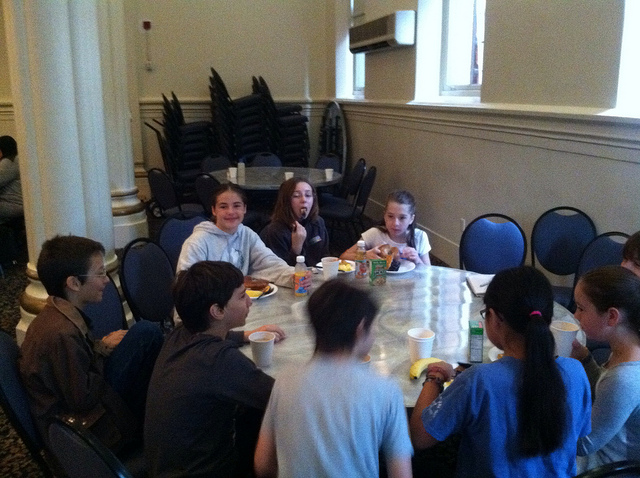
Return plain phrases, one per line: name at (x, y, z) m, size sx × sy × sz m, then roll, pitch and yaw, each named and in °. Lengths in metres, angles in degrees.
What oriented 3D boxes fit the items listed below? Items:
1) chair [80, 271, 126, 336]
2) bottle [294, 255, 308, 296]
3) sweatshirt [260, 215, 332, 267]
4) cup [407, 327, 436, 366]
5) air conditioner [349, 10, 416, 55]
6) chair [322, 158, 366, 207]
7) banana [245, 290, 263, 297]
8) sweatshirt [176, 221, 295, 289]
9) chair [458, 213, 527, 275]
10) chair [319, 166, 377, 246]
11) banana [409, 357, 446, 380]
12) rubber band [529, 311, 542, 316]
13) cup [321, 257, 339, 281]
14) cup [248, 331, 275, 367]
chair at (-1.237, 0.342, 2.541) m, size 0.267 × 0.222 × 0.344 m, roll 8°, pitch 6°, yaw -13°
bottle at (-0.102, 0.185, 2.482) m, size 0.069 × 0.199 × 0.175 m, roll -3°, pitch 8°, yaw -3°
sweatshirt at (-0.169, -0.026, 3.396) m, size 0.452 × 0.362 × 0.389 m, roll -1°, pitch 17°, yaw -14°
cup at (0.398, 0.406, 1.846) m, size 0.117 × 0.132 × 0.122 m, roll 1°, pitch 20°, yaw 0°
air conditioner at (0.786, -2.659, 6.058) m, size 0.243 × 0.607 × 1.475 m, roll -5°, pitch 9°, yaw -17°
chair at (0.398, -0.665, 6.018) m, size 0.508 × 0.757 × 0.500 m, roll 15°, pitch 22°, yaw 34°
banana at (-0.331, 0.276, 2.384) m, size 0.080 × 0.024 × 0.053 m, roll -3°, pitch 8°, yaw -6°
sweatshirt at (-0.498, 0.072, 2.851) m, size 0.586 × 0.433 × 0.510 m, roll 8°, pitch 15°, yaw -2°
chair at (1.229, 0.042, 3.278) m, size 0.286 × 0.398 × 0.308 m, roll -3°, pitch 17°, yaw -13°
chair at (0.330, -0.430, 5.584) m, size 0.659 × 1.101 × 0.651 m, roll -1°, pitch 18°, yaw -12°
banana at (0.403, 0.482, 1.779) m, size 0.119 × 0.075 × 0.100 m, roll -1°, pitch 8°, yaw 10°
rubber band at (0.643, 0.221, 1.383) m, size 0.032 × 0.013 × 0.031 m, roll 1°, pitch 9°, yaw 20°
cup at (0.057, 0.167, 2.665) m, size 0.104 × 0.111 × 0.108 m, roll 1°, pitch 14°, yaw 0°
cup at (-0.235, 0.433, 1.860) m, size 0.102 × 0.089 × 0.113 m, roll 0°, pitch 8°, yaw -1°
